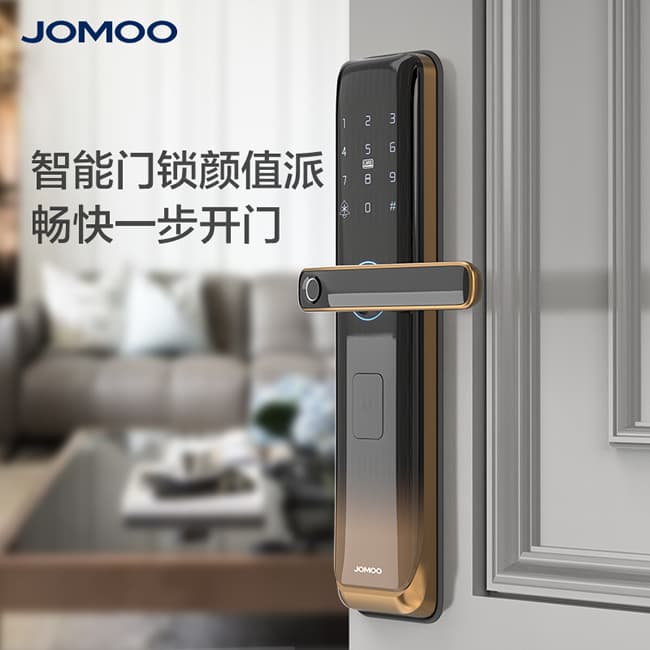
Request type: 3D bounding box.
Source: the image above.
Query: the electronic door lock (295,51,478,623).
[{"bbox_3d":[0.042,0.008,0.491,0.136,0.366,0.038,1,3,37],"label":"electronic door lock"}]
